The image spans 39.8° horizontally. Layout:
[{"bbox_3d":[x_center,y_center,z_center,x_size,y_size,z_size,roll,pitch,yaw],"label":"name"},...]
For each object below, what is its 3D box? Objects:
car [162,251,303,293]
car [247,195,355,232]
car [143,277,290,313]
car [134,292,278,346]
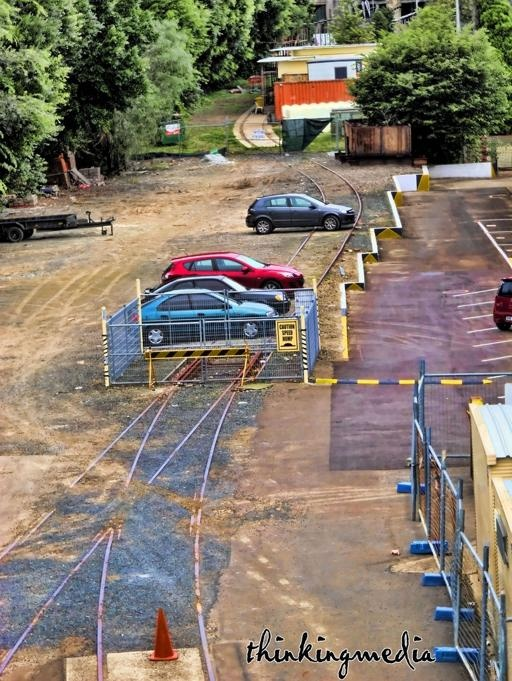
[{"bbox_3d":[-0.670,-2.064,23.639,4.572,1.357,1.792,-1,11,0],"label":"car"},{"bbox_3d":[2.166,-5.985,33.236,4.601,1.468,1.968,0,12,4],"label":"car"},{"bbox_3d":[-0.940,-1.332,20.345,3.701,1.100,1.495,-1,12,2],"label":"car"},{"bbox_3d":[-1.353,-0.600,18.905,3.504,1.403,1.092,1,13,17],"label":"car"}]
